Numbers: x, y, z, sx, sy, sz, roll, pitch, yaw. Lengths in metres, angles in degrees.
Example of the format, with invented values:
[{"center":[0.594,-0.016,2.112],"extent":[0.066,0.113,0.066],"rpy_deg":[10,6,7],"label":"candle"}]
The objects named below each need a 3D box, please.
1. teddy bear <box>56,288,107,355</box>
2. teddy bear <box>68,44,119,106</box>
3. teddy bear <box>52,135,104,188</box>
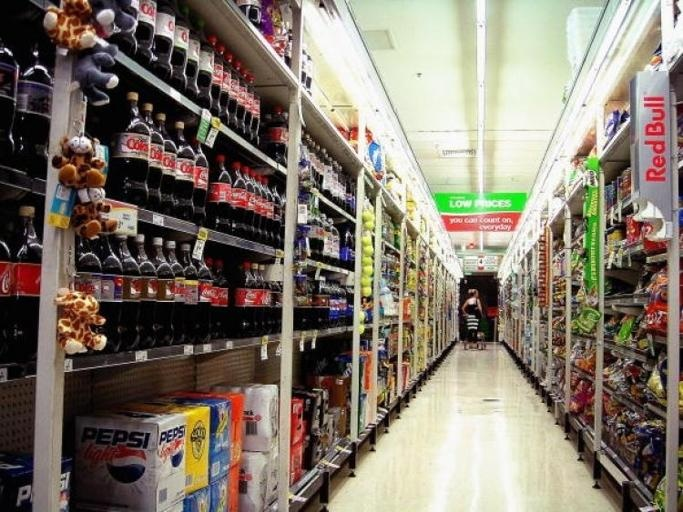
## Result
[{"center":[-0.807,0.191,1.518],"extent":[0.132,0.206,0.148],"rpy_deg":[4,2,34],"label":"teddy bear"},{"center":[-0.748,-0.577,1.515],"extent":[0.117,0.217,0.106],"rpy_deg":[4,-7,-31],"label":"teddy bear"},{"center":[-0.791,-0.283,1.509],"extent":[0.135,0.160,0.088],"rpy_deg":[4,-5,-34],"label":"teddy bear"}]
